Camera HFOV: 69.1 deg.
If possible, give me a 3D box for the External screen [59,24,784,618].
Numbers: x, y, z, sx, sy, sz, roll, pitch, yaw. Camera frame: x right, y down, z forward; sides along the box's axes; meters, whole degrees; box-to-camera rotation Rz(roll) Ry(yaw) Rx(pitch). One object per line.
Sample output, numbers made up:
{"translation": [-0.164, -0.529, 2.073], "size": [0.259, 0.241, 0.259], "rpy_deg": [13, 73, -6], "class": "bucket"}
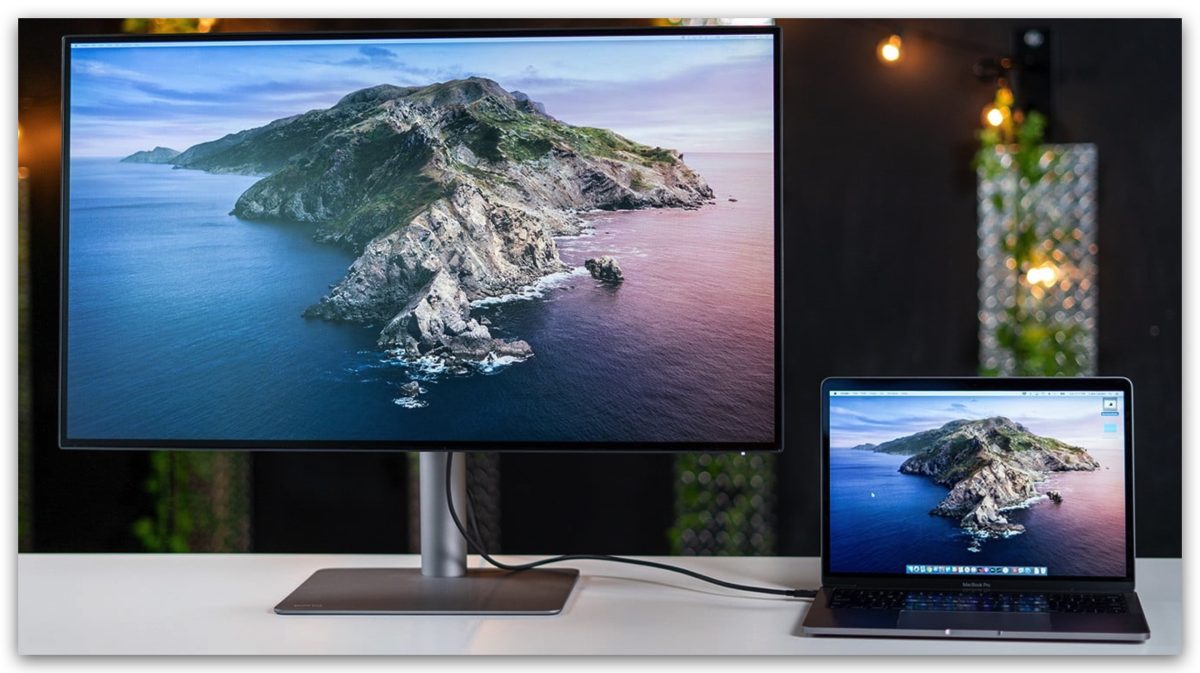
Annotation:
{"translation": [-0.422, -0.080, 2.276], "size": [2.025, 1.205, 0.459], "rpy_deg": [0, -4, -1], "class": "External screen"}
